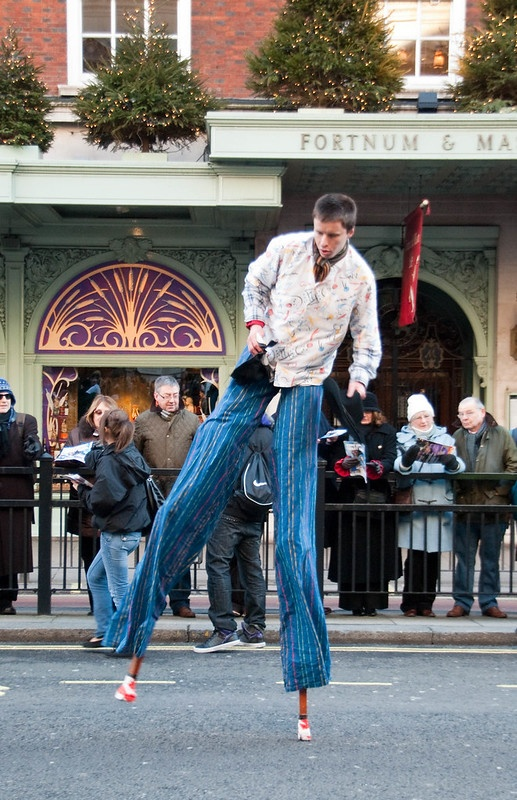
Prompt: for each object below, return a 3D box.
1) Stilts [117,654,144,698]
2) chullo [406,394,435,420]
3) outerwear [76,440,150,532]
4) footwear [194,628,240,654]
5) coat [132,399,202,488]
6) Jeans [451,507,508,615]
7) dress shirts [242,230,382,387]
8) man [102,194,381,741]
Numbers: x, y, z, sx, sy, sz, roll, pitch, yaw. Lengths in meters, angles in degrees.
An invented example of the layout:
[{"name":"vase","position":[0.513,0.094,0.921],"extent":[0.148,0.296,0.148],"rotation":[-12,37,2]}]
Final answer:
[{"name":"Stilts","position":[-0.683,1.470,7.367],"extent":[0.126,0.259,0.252],"rotation":[1,-2,-5]},{"name":"chullo","position":[1.272,0.050,11.005],"extent":[0.183,0.162,0.228],"rotation":[5,-2,-29]},{"name":"outerwear","position":[-1.003,0.607,9.699],"extent":[0.545,0.589,0.588],"rotation":[-1,1,7]},{"name":"footwear","position":[-0.264,1.664,9.594],"extent":[0.366,0.140,0.116],"rotation":[-1,-1,-18]},{"name":"coat","position":[-0.720,0.504,11.220],"extent":[0.587,1.034,0.283],"rotation":[-3,29,-9]},{"name":"Jeans","position":[1.694,1.232,10.823],"extent":[0.434,0.892,0.250],"rotation":[3,9,3]},{"name":"dress shirts","position":[0.307,-0.466,7.440],"extent":[0.763,0.823,0.366],"rotation":[1,-2,-10]},{"name":"man","position":[0.034,0.241,7.418],"extent":[1.329,2.799,0.877],"rotation":[11,-7,7]}]
